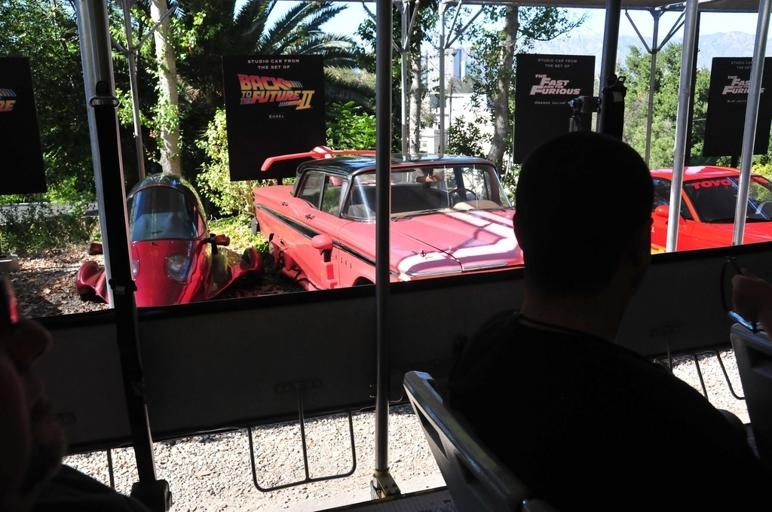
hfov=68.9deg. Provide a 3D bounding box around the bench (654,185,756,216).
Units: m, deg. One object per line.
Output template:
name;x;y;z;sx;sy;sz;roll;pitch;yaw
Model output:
bench;4.064;-0.690;7.251;0.621;0.544;1.073;-7;12;-21

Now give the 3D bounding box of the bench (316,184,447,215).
bench;-0.006;-0.717;6.130;1.370;0.263;0.332;1;-9;11
